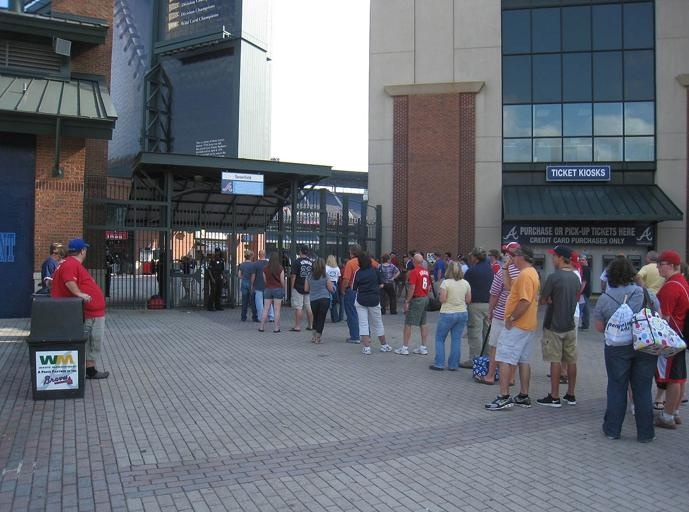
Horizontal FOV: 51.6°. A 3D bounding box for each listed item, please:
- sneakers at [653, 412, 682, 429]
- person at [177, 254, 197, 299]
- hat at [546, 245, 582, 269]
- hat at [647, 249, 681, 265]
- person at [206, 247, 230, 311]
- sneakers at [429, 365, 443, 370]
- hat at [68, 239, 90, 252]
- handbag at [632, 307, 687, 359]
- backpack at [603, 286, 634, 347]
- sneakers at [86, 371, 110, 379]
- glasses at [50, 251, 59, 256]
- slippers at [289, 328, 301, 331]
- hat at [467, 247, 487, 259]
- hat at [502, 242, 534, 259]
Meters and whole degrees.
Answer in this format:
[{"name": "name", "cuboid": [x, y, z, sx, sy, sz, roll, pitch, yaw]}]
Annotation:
[{"name": "sneakers", "cuboid": [5.061, 2.578, 11.346, 0.210, 0.181, 0.403, -2, 6, -1]}, {"name": "person", "cuboid": [-5.221, 0.745, 23.825, 0.530, 1.502, 1.498, -1, 8, -13]}, {"name": "hat", "cuboid": [5.456, -0.033, 17.633, 0.924, 0.583, 0.608, 20, 11, 21]}, {"name": "hat", "cuboid": [6.346, 0.022, 14.244, 0.666, 0.267, 0.438, 4, 4, 26]}, {"name": "person", "cuboid": [-4.248, 0.750, 23.592, 0.626, 2.055, 1.011, -1, 7, -10]}, {"name": "sneakers", "cuboid": [1.816, 2.195, 14.186, 0.093, 0.118, 0.253, 0, 1, -41]}, {"name": "hat", "cuboid": [-4.816, -0.202, 12.975, 0.298, 0.229, 0.446, 4, 14, 5]}, {"name": "handbag", "cuboid": [4.642, 1.156, 10.621, 0.636, 0.670, 0.247, 16, -28, -37]}, {"name": "backpack", "cuboid": [4.121, 1.049, 10.702, 0.381, 0.631, 0.276, 3, 8, 20]}, {"name": "sneakers", "cuboid": [-4.489, 2.157, 13.028, 0.417, 0.183, 0.140, -4, 7, -14]}, {"name": "glasses", "cuboid": [-6.069, -0.050, 14.977, 0.099, 0.081, 0.101, 5, -5, -35]}, {"name": "slippers", "cuboid": [-1.283, 1.911, 18.531, 0.266, 0.108, 0.099, 2, 2, 22]}, {"name": "hat", "cuboid": [2.723, -0.028, 14.675, 0.256, 0.204, 0.369, 2, 13, -6]}, {"name": "hat", "cuboid": [3.529, -0.122, 14.662, 0.320, 0.284, 0.527, -6, 34, -37]}]
